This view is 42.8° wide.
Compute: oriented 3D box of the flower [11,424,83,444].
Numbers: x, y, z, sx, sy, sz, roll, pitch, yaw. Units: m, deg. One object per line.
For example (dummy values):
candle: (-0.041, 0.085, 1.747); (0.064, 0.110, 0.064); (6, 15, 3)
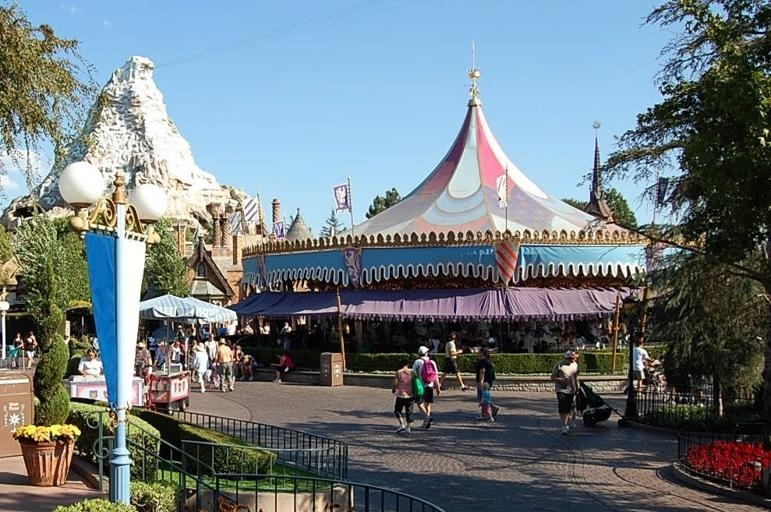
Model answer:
flower: (-6.928, 3.624, 20.022); (1.234, 0.378, 0.629); (2, -11, -23)

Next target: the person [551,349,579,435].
person: (4.903, 3.736, 26.770); (0.736, 2.066, 0.962); (0, -2, -3)

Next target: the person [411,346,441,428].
person: (1.090, 3.660, 27.706); (0.822, 2.190, 1.019); (3, -3, -19)

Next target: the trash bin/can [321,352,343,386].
trash bin/can: (-1.956, 4.157, 35.960); (0.829, 1.214, 0.764); (0, -10, -8)

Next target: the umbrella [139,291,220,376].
umbrella: (-7.268, 2.577, 33.984); (1.664, 2.887, 1.838); (0, -2, 38)
